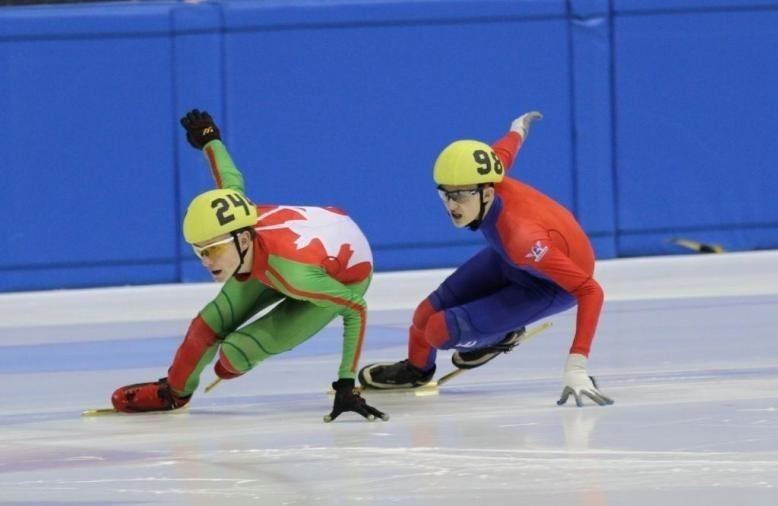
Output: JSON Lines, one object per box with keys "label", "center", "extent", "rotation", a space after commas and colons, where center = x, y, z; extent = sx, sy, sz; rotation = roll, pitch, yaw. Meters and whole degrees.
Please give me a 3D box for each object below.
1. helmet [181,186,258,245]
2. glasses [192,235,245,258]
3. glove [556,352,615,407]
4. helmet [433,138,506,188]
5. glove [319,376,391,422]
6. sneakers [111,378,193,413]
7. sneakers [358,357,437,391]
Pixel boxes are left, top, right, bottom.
{"label": "helmet", "center": [-0.996, -0.233, 6.622], "extent": [0.416, 0.215, 0.320], "rotation": [-7, 2, -30]}
{"label": "glasses", "center": [-0.986, -0.066, 6.635], "extent": [0.168, 0.057, 0.199], "rotation": [-19, -3, 29]}
{"label": "glove", "center": [1.179, 0.742, 6.770], "extent": [0.339, 0.293, 0.325], "rotation": [-1, 9, -1]}
{"label": "helmet", "center": [0.486, -0.547, 6.910], "extent": [0.349, 0.185, 0.335], "rotation": [1, -3, -44]}
{"label": "glove", "center": [-0.190, 0.864, 6.680], "extent": [0.379, 0.242, 0.188], "rotation": [-1, 10, 0]}
{"label": "sneakers", "center": [-1.474, 0.905, 7.014], "extent": [0.539, 0.176, 0.212], "rotation": [-4, -11, -7]}
{"label": "sneakers", "center": [0.075, 0.764, 7.225], "extent": [0.517, 0.162, 0.188], "rotation": [4, 10, 2]}
